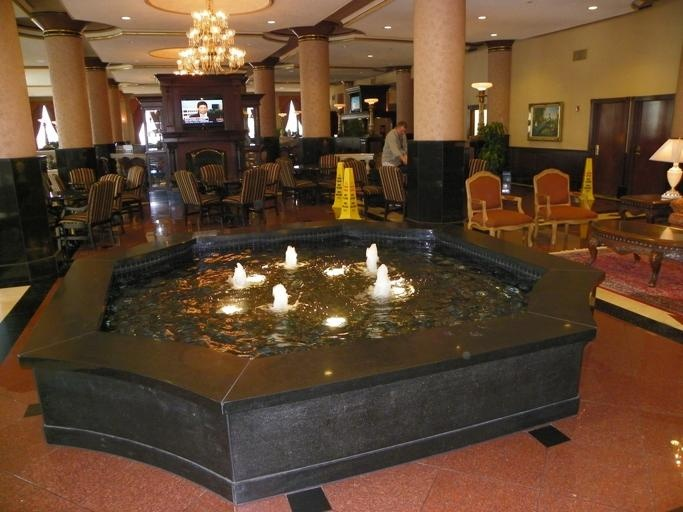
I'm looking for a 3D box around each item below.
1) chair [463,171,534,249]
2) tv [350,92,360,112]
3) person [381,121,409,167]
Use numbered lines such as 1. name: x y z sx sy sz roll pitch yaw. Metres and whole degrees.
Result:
1. chair: 2.257 -0.673 7.233 0.834 1.066 0.743 -10 17 -21
2. tv: 0.599 -6.778 21.769 0.126 0.774 0.899 -13 25 -24
3. person: 1.040 -2.065 9.219 0.354 0.817 0.694 -11 17 -22
